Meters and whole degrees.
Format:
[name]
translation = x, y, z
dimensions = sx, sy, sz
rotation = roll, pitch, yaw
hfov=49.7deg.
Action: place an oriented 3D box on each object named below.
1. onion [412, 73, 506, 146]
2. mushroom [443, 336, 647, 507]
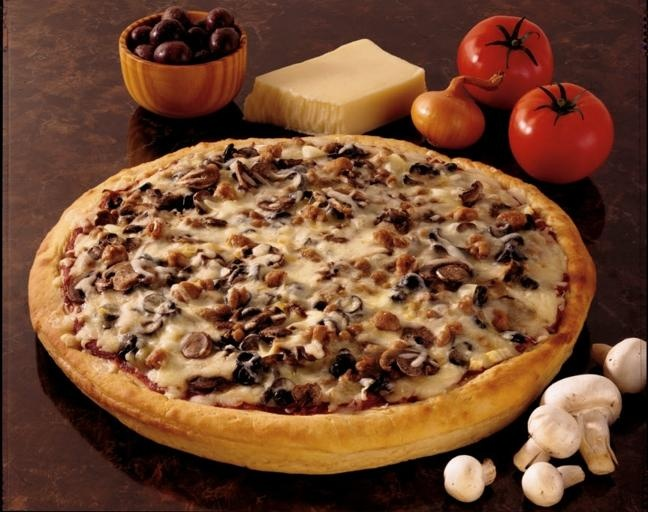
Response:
[onion]
translation = 0.650, -0.689, 3.364
dimensions = 0.347, 0.342, 0.289
rotation = 35, 43, 11
[mushroom]
translation = 0.774, 0.552, 2.227
dimensions = 0.724, 0.206, 0.376
rotation = -38, 66, -16
